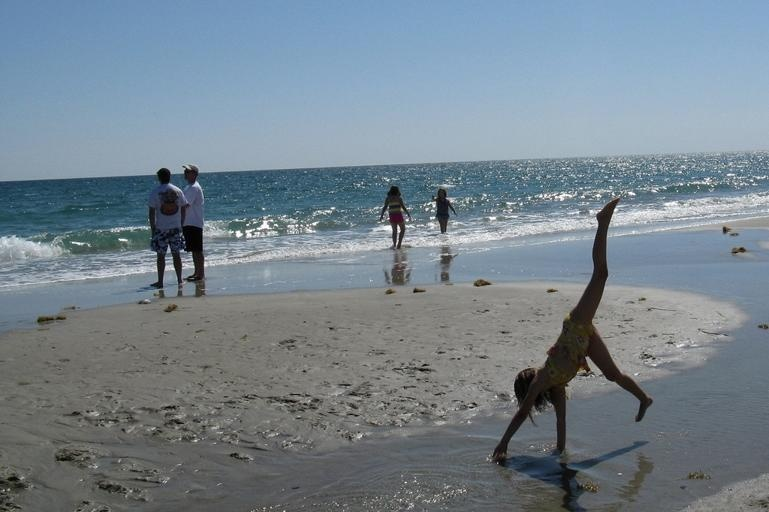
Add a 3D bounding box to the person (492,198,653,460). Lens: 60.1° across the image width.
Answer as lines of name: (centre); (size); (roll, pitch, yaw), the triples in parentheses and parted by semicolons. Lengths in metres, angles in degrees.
person: (1.667, 0.680, 5.918); (1.347, 2.368, 0.474); (0, 8, 17)
